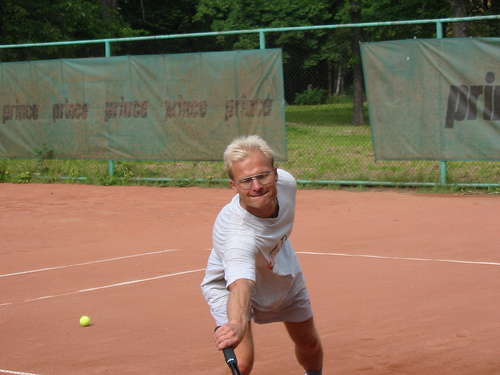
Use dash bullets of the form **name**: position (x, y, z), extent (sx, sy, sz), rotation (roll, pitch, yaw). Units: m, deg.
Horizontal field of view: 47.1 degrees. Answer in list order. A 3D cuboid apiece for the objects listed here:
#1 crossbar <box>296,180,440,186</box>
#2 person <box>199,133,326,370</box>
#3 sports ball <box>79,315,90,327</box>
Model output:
- **crossbar**: position (2.482, -0.084, 12.410), extent (2.880, 0.118, 0.226), rotation (2, 12, 18)
- **person**: position (0.131, 0.686, 4.693), extent (1.084, 2.181, 1.141), rotation (-2, 11, -3)
- **sports ball**: position (-1.857, 1.505, 6.476), extent (0.097, 0.099, 0.094), rotation (-4, 25, 2)
